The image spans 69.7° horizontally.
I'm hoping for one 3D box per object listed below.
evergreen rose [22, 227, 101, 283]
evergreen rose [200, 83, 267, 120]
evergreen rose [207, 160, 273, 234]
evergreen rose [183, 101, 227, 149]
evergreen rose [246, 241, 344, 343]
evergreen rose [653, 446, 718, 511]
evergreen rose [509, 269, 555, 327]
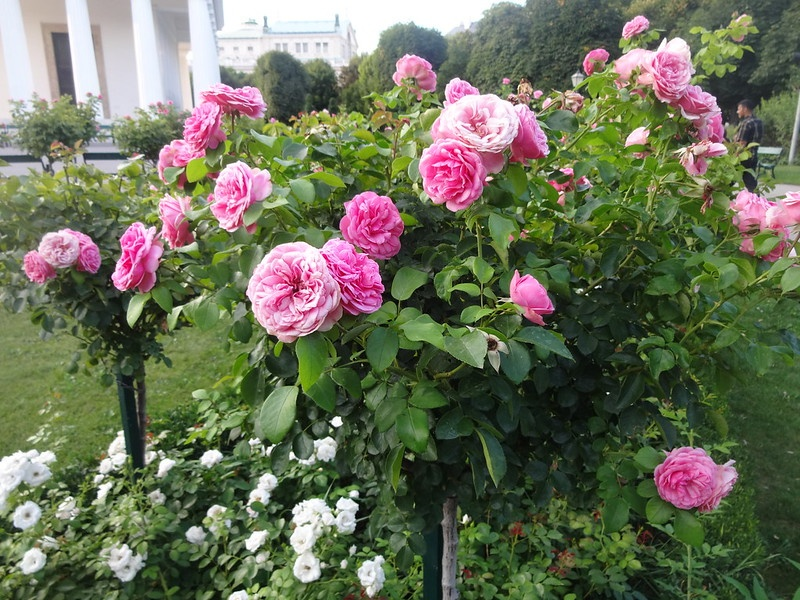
[{"bbox_3d":[-1.923,-0.223,3.273,0.350,0.236,0.343,-24,-1,-28],"label":"evergreen rose"},{"bbox_3d":[-0.687,-0.819,2.410,0.193,0.107,0.198,12,16,16],"label":"evergreen rose"},{"bbox_3d":[-0.595,-0.385,2.157,0.229,0.253,0.128,-7,19,-15],"label":"evergreen rose"},{"bbox_3d":[-0.806,-0.712,2.353,0.164,0.191,0.118,-9,20,-19],"label":"evergreen rose"},{"bbox_3d":[-0.335,-0.067,1.953,0.273,0.130,0.282,-5,29,-3],"label":"evergreen rose"},{"bbox_3d":[1.151,0.722,2.296,0.244,0.240,0.124,-7,19,-13],"label":"evergreen rose"},{"bbox_3d":[0.483,-0.004,2.150,0.146,0.201,0.132,-4,19,-6],"label":"evergreen rose"}]
